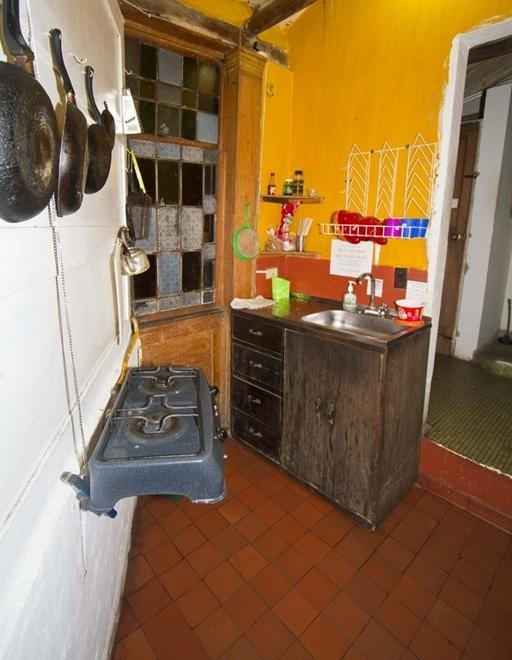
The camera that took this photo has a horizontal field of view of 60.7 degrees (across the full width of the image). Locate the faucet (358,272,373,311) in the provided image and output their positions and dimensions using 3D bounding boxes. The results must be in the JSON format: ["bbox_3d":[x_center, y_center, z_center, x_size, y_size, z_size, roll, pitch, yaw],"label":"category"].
[{"bbox_3d":[0.628,-0.234,2.488,0.093,0.212,0.279,5,17,15],"label":"faucet"}]

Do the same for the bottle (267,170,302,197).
[{"bbox_3d":[0.188,-0.944,2.794,0.231,0.165,0.240,0,16,0],"label":"bottle"}]

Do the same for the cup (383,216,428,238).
[{"bbox_3d":[0.793,-0.544,2.333,0.159,0.081,0.113,5,10,29],"label":"cup"}]

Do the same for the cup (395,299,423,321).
[{"bbox_3d":[0.784,-0.111,2.255,0.114,0.082,0.107,-1,8,0],"label":"cup"}]

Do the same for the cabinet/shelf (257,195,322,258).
[{"bbox_3d":[0.246,-0.656,2.866,0.385,0.389,0.327,-8,12,-42],"label":"cabinet/shelf"}]

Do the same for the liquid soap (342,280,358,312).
[{"bbox_3d":[0.556,-0.211,2.586,0.090,0.159,0.184,4,16,12],"label":"liquid soap"}]

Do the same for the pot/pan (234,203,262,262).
[{"bbox_3d":[-0.058,-0.586,2.650,0.051,0.321,0.197,14,21,40],"label":"pot/pan"}]

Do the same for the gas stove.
[{"bbox_3d":[-0.279,0.292,1.346,0.333,0.203,0.659,-2,15,-9],"label":"gas stove"}]

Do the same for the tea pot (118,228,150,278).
[{"bbox_3d":[-0.483,-0.300,1.714,0.100,0.202,0.267,-4,17,-17],"label":"tea pot"}]

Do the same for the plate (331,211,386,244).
[{"bbox_3d":[0.591,-0.599,2.558,0.103,0.191,0.385,-10,19,-32],"label":"plate"}]

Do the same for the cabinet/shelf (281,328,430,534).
[{"bbox_3d":[0.513,0.371,2.343,0.572,0.961,0.636,-11,21,-33],"label":"cabinet/shelf"}]

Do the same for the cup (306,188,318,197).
[{"bbox_3d":[0.345,-0.855,2.717,0.067,0.059,0.062,-2,8,0],"label":"cup"}]
